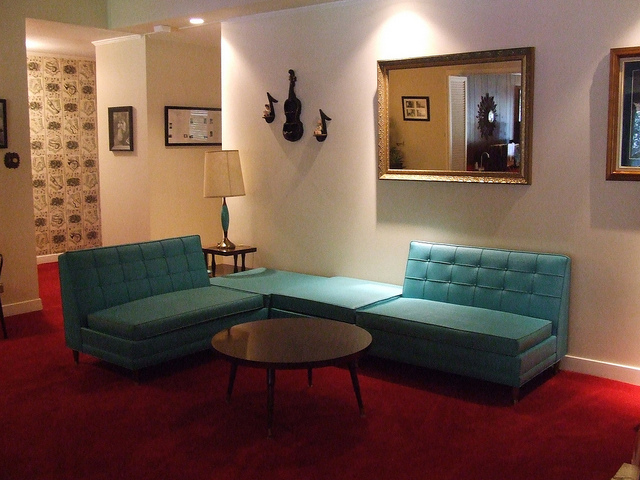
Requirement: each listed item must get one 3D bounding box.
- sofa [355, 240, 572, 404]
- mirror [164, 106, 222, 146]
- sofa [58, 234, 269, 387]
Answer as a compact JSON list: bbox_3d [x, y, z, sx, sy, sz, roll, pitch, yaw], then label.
[{"bbox_3d":[1.198,0.685,3.927,1.563,1.156,1.166,11,11,39],"label":"sofa"},{"bbox_3d":[-1.729,-1.549,6.686,0.851,0.526,0.073,-9,13,-40],"label":"mirror"},{"bbox_3d":[-1.323,0.530,4.322,1.139,1.026,1.592,1,5,24],"label":"sofa"}]
